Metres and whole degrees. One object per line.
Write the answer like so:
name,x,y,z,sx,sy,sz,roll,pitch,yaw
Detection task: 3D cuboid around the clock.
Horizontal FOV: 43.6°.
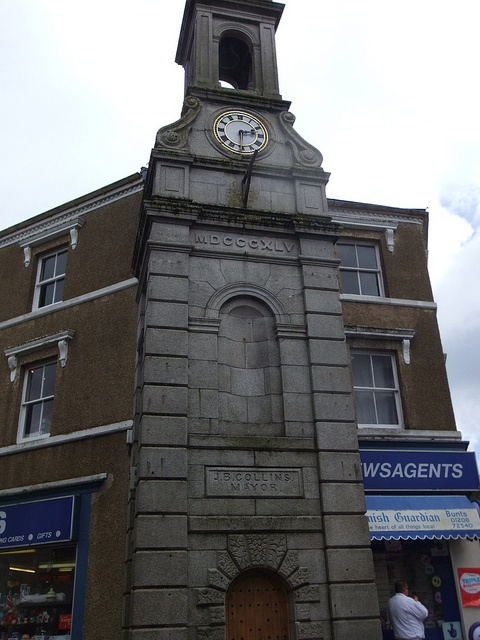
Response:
clock,0.013,-3.979,12.774,1.359,0.118,1.375,-5,-38,36
